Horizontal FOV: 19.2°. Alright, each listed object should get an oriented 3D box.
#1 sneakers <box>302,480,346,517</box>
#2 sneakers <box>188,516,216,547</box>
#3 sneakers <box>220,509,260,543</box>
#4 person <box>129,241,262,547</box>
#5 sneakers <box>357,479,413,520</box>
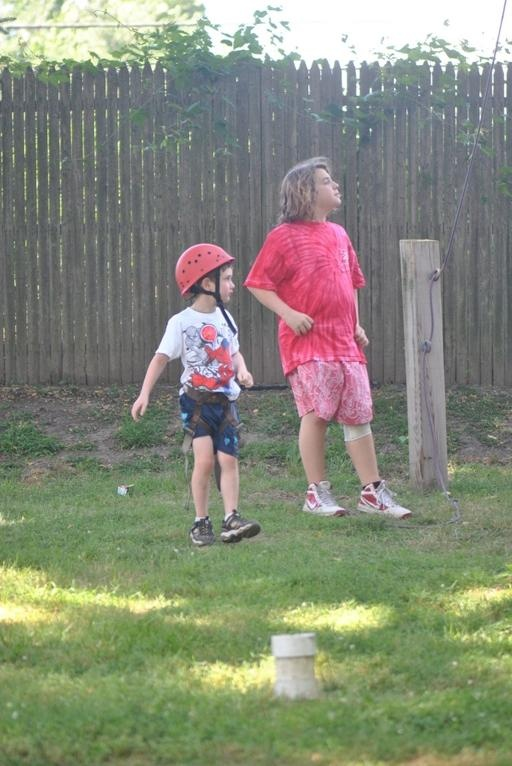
[{"bbox_3d":[0.331,0.551,7.329,0.166,0.147,0.303,-2,3,-16],"label":"sneakers"},{"bbox_3d":[-0.237,0.664,6.845,0.113,0.115,0.178,-1,3,-3],"label":"sneakers"},{"bbox_3d":[-0.078,0.645,6.753,0.180,0.138,0.094,-22,11,38],"label":"sneakers"},{"bbox_3d":[-0.247,0.026,7.027,0.571,1.360,0.616,0,3,7],"label":"person"},{"bbox_3d":[0.622,0.555,7.292,0.258,0.195,0.116,5,5,38],"label":"sneakers"}]
